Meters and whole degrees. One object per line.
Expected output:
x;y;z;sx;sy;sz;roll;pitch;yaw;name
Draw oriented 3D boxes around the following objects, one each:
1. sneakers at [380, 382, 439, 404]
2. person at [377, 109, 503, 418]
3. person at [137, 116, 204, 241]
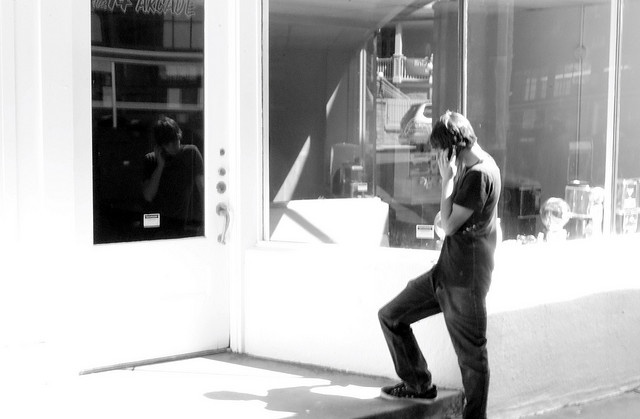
0.634;1.247;4.298;0.377;0.190;0.151;6;0;12;sneakers
0.825;0.372;4.111;0.689;1.951;0.390;5;14;18;person
-1.150;-0.247;4.787;0.470;0.900;0.156;-3;14;-14;person
